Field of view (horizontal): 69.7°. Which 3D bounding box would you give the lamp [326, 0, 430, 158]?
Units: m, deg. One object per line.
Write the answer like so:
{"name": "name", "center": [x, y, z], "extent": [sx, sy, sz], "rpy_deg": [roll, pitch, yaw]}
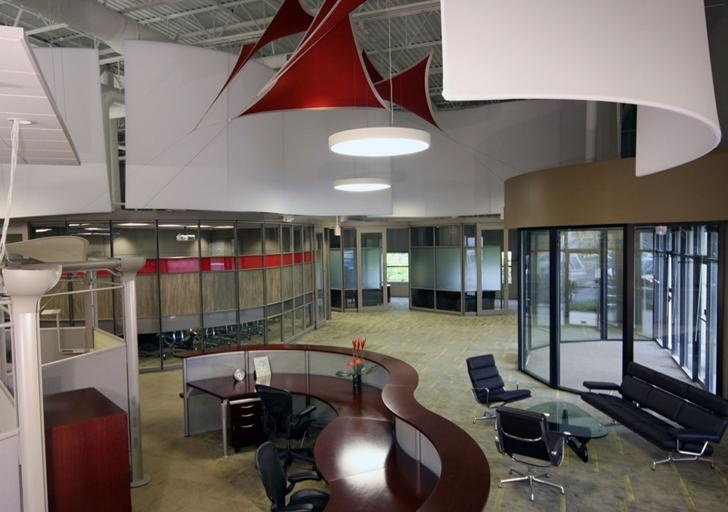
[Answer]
{"name": "lamp", "center": [0.245, -2.356, 7.338], "extent": [1.878, 1.607, 1.881], "rpy_deg": [-12, 18, 0]}

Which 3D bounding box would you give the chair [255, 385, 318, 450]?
{"name": "chair", "center": [-1.066, 2.278, 7.190], "extent": [0.720, 0.993, 0.689], "rpy_deg": [-2, -7, 11]}

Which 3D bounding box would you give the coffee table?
{"name": "coffee table", "center": [2.835, 2.383, 7.338], "extent": [0.913, 0.465, 1.274], "rpy_deg": [-1, 6, -16]}

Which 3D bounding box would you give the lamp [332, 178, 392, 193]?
{"name": "lamp", "center": [-0.051, -1.503, 10.846], "extent": [0.816, 0.228, 0.861], "rpy_deg": [3, 7, 45]}
